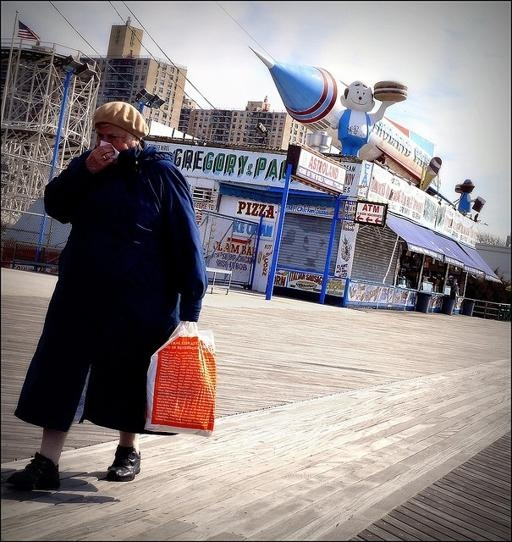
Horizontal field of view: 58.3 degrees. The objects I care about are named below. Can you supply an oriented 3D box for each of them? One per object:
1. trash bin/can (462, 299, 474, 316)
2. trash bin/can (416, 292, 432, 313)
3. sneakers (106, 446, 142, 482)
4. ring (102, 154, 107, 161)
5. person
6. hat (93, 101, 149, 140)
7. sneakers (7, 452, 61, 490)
[{"bbox_3d":[15.798,2.718,34.103,0.930,0.921,0.736,9,-2,6],"label":"trash bin/can"},{"bbox_3d":[9.981,1.878,27.066,1.158,0.926,0.602,11,-3,-34],"label":"trash bin/can"},{"bbox_3d":[-0.655,0.962,2.320,0.084,0.111,0.228,5,-11,10],"label":"sneakers"},{"bbox_3d":[-0.687,-0.506,2.070,0.027,0.031,0.007,2,0,-9],"label":"ring"},{"bbox_3d":[-0.642,-0.009,2.176,0.796,1.743,0.285,9,-3,-16],"label":"person"},{"bbox_3d":[-0.633,-0.689,2.162,0.204,0.134,0.170,32,-9,-29],"label":"hat"},{"bbox_3d":[-0.970,0.898,2.074,0.237,0.182,0.122,10,-10,-19],"label":"sneakers"}]
